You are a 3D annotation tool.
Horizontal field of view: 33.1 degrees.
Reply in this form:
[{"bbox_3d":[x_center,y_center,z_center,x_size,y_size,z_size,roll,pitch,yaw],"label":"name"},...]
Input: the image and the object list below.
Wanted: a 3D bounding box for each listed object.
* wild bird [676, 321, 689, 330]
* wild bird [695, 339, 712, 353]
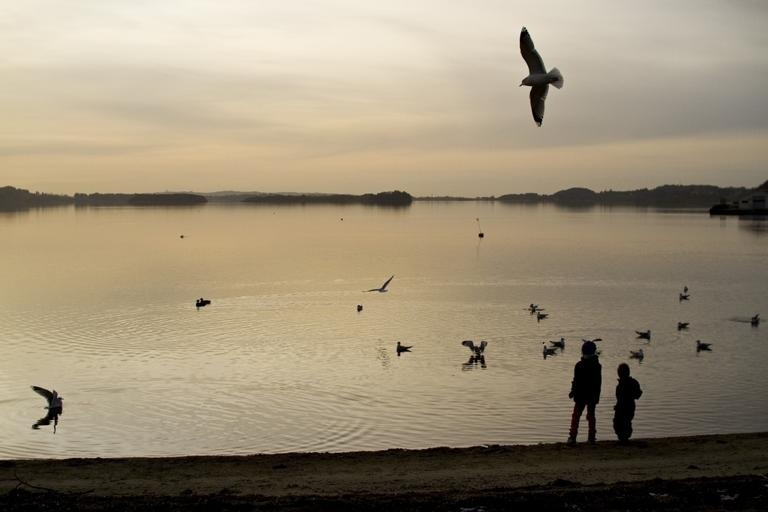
[{"bbox_3d":[20.014,4.576,87.349,0.565,0.273,0.661,-15,2,-27],"label":"wild bird"},{"bbox_3d":[19.829,5.566,80.848,0.601,0.713,1.281,-9,6,-2],"label":"wild bird"}]
